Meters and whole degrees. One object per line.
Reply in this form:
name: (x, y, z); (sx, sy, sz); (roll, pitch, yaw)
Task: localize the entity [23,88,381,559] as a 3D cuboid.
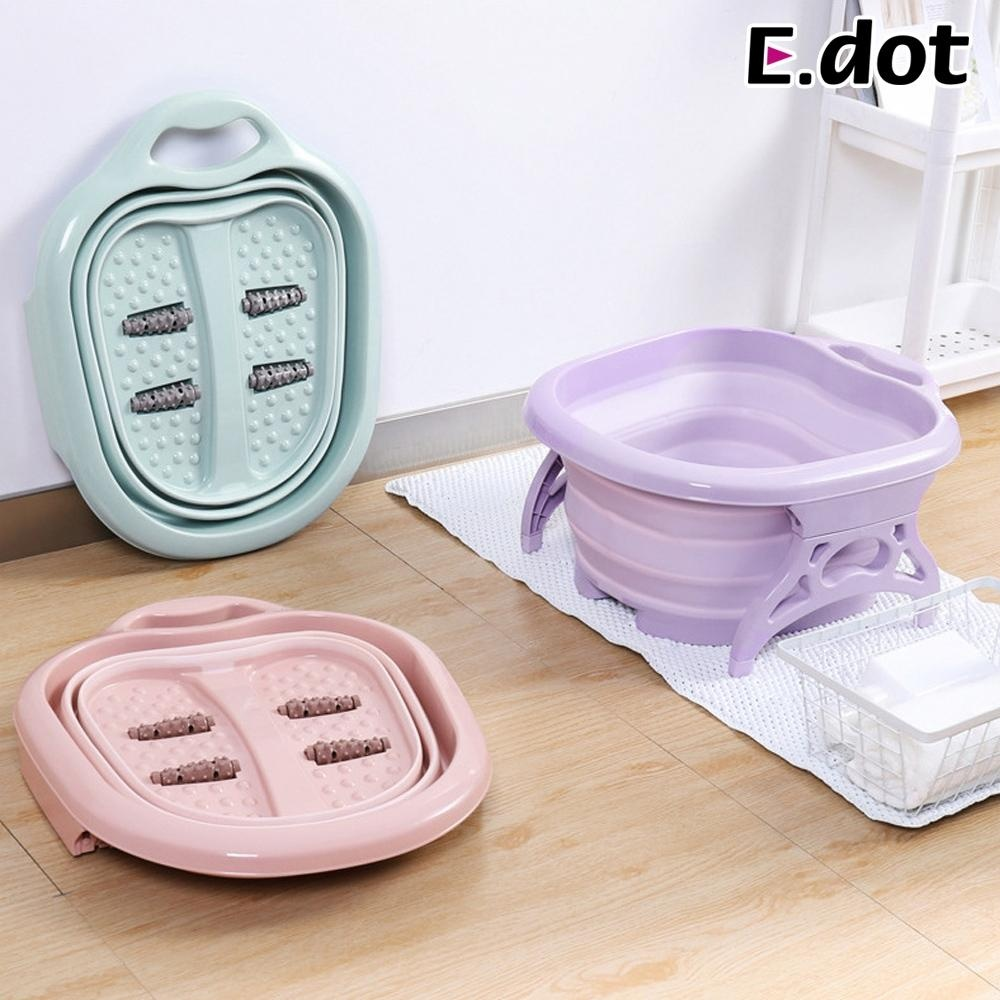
entity: (-0.405, -0.226, 1.510); (0.522, 0.534, 0.177); (-10, 18, -32)

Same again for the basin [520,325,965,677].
basin: (0.265, 0.051, 1.447); (0.449, 0.181, 0.478); (-1, 7, 0)

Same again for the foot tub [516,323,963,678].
foot tub: (0.253, -0.036, 1.475); (0.551, 0.230, 0.550); (-13, 23, -25)
